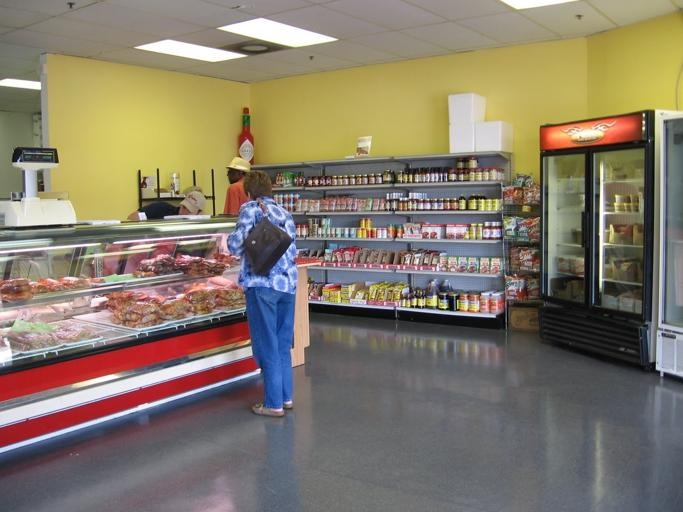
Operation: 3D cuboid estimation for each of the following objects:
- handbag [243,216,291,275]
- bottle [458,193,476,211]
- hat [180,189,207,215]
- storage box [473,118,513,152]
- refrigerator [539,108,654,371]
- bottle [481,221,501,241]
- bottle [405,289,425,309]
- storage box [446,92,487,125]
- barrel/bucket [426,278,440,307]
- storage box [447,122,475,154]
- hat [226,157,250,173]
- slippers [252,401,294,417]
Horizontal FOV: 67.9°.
[{"bbox_3d":[-0.576,-0.078,3.915,0.272,0.425,0.192,4,9,32],"label":"handbag"},{"bbox_3d":[1.735,-0.736,7.051,0.305,0.210,0.118,6,11,44],"label":"bottle"},{"bbox_3d":[-1.773,-0.630,5.989,0.276,0.270,0.534,-4,8,-19],"label":"hat"},{"bbox_3d":[2.088,-1.628,6.976,0.525,0.425,0.497,2,6,16],"label":"storage box"},{"bbox_3d":[2.916,-0.227,5.725,0.653,2.626,1.490,-5,8,-21],"label":"refrigerator"},{"bbox_3d":[2.043,-0.341,6.907,0.260,0.222,0.249,3,-3,-14],"label":"bottle"},{"bbox_3d":[1.091,0.610,7.414,0.296,0.244,0.299,1,8,19],"label":"bottle"},{"bbox_3d":[1.723,-2.017,7.147,0.564,0.451,0.516,1,2,2],"label":"storage box"},{"bbox_3d":[1.303,0.547,7.314,0.186,0.351,0.304,0,8,12],"label":"barrel/bucket"},{"bbox_3d":[1.641,-1.612,6.939,0.421,0.354,0.428,6,12,38],"label":"storage box"},{"bbox_3d":[-1.279,-1.135,6.292,0.228,0.170,0.363,-3,7,-14],"label":"hat"},{"bbox_3d":[-0.599,1.294,4.307,0.336,0.118,0.116,4,5,26],"label":"slippers"}]
